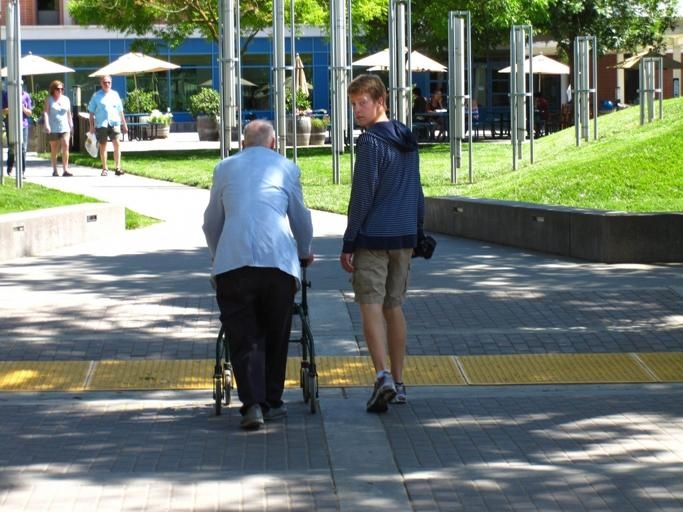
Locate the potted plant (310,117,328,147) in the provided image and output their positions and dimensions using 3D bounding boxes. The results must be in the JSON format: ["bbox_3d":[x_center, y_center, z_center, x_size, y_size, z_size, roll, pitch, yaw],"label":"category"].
[{"bbox_3d":[-0.855,-4.751,29.010,0.875,1.007,0.918,1,6,15],"label":"potted plant"}]

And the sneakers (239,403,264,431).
[{"bbox_3d":[-0.565,0.996,4.774,0.144,0.155,0.230,-1,10,-3],"label":"sneakers"}]

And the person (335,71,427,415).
[{"bbox_3d":[0.267,0.061,5.123,0.435,1.923,0.604,4,10,24],"label":"person"}]

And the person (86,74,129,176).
[{"bbox_3d":[-5.843,-3.203,18.797,0.863,2.467,1.419,-3,9,-17],"label":"person"}]

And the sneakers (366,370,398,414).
[{"bbox_3d":[0.266,0.914,5.030,0.122,0.334,0.159,4,49,-9],"label":"sneakers"}]

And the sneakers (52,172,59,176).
[{"bbox_3d":[-7.086,-2.011,18.621,0.108,0.172,0.155,-3,5,-8],"label":"sneakers"}]

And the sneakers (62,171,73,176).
[{"bbox_3d":[-6.794,-2.020,18.620,0.186,0.123,0.096,-5,11,-13],"label":"sneakers"}]

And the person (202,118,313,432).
[{"bbox_3d":[-0.522,0.103,4.829,0.674,1.891,0.566,-3,9,-15],"label":"person"}]

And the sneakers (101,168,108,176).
[{"bbox_3d":[-6.077,-2.114,19.261,0.095,0.123,0.298,0,5,-2],"label":"sneakers"}]

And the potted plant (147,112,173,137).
[{"bbox_3d":[-9.094,-6.441,37.269,0.898,1.288,2.044,-1,10,-4],"label":"potted plant"}]

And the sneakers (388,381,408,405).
[{"bbox_3d":[0.400,0.946,5.127,0.076,0.101,0.205,1,2,2],"label":"sneakers"}]

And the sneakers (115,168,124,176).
[{"bbox_3d":[-5.727,-2.159,19.405,0.111,0.131,0.295,3,10,9],"label":"sneakers"}]
